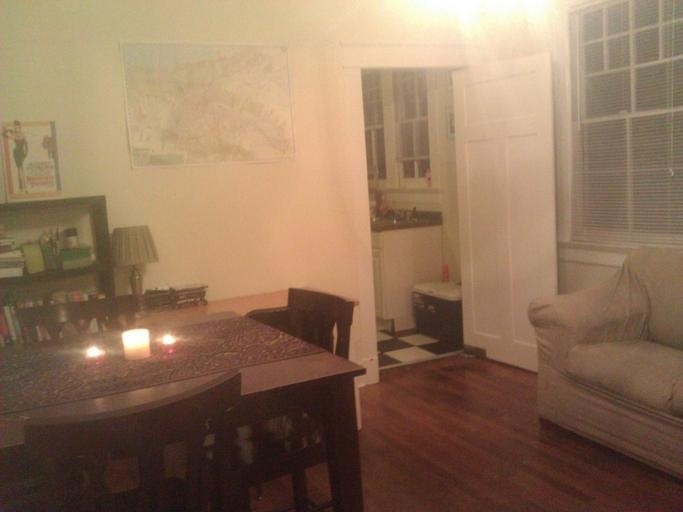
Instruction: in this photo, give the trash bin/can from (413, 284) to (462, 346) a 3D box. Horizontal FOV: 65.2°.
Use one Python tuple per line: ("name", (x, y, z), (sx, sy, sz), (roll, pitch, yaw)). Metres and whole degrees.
("trash bin/can", (0.898, 0.521, 5.002), (0.459, 0.464, 0.660), (-3, 5, -23))
